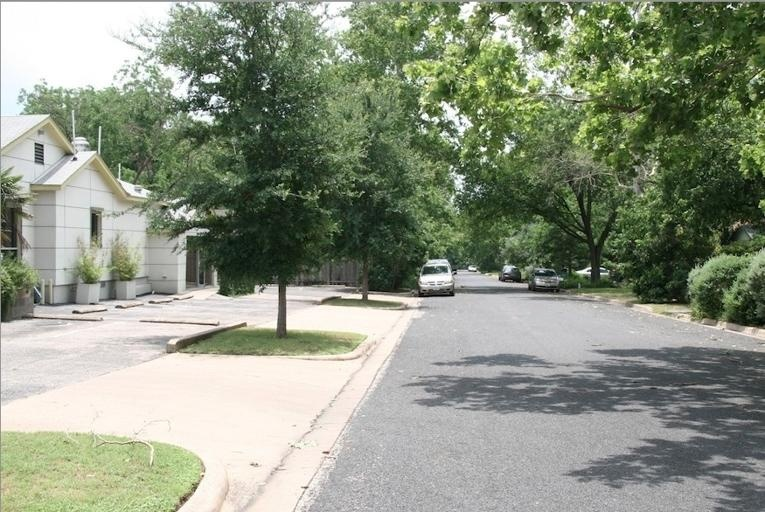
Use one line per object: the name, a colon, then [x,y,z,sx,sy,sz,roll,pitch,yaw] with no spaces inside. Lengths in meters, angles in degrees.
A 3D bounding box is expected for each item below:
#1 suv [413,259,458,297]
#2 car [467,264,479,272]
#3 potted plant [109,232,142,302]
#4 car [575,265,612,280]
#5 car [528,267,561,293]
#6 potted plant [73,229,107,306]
suv: [3.370,1.366,40.418,2.198,2.291,4.023,0,-3,3]
car: [20.539,2.813,145.854,1.717,1.260,3.828,0,-7,1]
potted plant: [-11.329,0.425,28.162,1.161,2.902,1.814,1,-2,-11]
car: [20.382,1.525,62.093,3.539,1.133,1.569,-2,3,-14]
car: [11.871,1.794,47.731,1.263,1.073,2.563,0,-8,3]
potted plant: [-11.727,0.542,25.423,0.944,2.650,1.395,1,-1,-26]
